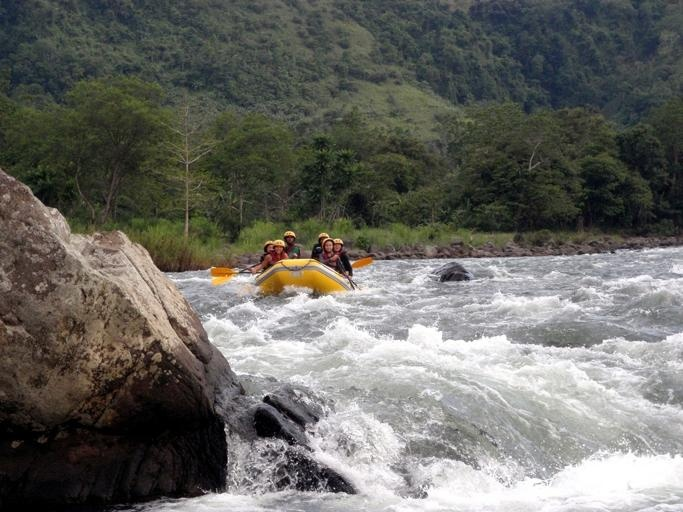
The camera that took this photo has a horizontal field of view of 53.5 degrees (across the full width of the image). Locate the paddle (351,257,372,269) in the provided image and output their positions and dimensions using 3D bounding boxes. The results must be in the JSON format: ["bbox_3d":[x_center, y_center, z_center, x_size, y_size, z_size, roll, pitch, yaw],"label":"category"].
[{"bbox_3d":[0.495,0.233,18.165,0.996,0.257,0.097,-15,-12,43],"label":"paddle"}]

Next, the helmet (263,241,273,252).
[{"bbox_3d":[-1.812,-0.244,17.036,0.204,0.277,0.278,0,-15,-12],"label":"helmet"}]

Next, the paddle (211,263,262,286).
[{"bbox_3d":[-2.659,0.454,16.391,1.725,0.604,0.224,-2,4,6],"label":"paddle"}]

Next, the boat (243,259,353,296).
[{"bbox_3d":[-0.863,0.488,15.528,2.153,0.825,0.574,0,8,-3],"label":"boat"}]
